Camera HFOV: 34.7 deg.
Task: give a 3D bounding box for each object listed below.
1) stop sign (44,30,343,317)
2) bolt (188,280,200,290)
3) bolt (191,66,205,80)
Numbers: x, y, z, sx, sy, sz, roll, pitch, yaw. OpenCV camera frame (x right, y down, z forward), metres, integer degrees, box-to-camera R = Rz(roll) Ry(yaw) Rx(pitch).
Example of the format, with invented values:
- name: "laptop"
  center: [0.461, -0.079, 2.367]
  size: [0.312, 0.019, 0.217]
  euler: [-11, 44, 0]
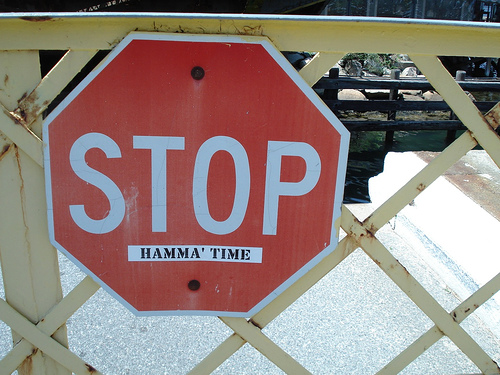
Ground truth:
- name: "stop sign"
  center: [-0.310, -0.102, 4.320]
  size: [1.555, 1.418, 0.061]
  euler: [1, 9, -4]
- name: "bolt"
  center: [-0.309, 0.536, 4.418]
  size: [0.051, 0.047, 0.012]
  euler: [-3, 14, -2]
- name: "bolt"
  center: [-0.274, -0.603, 4.243]
  size: [0.071, 0.068, 0.016]
  euler: [3, 20, -7]
